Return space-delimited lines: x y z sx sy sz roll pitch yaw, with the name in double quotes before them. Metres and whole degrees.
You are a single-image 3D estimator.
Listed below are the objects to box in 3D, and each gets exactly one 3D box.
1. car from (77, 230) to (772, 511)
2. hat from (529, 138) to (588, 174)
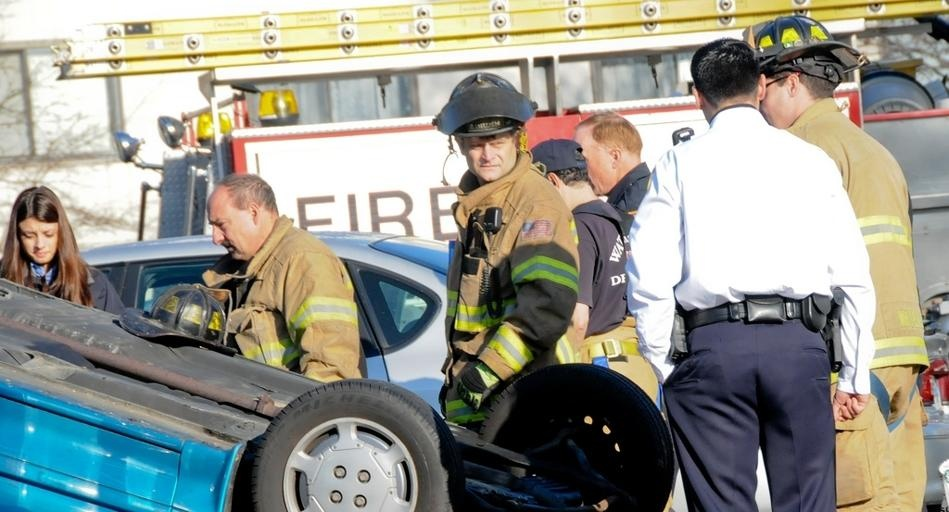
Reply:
"car" -0.661 1.142 14.014 5.682 1.858 2.595 4 5 13
"hat" 0.720 -0.862 12.844 0.432 0.234 0.267 7 17 26
